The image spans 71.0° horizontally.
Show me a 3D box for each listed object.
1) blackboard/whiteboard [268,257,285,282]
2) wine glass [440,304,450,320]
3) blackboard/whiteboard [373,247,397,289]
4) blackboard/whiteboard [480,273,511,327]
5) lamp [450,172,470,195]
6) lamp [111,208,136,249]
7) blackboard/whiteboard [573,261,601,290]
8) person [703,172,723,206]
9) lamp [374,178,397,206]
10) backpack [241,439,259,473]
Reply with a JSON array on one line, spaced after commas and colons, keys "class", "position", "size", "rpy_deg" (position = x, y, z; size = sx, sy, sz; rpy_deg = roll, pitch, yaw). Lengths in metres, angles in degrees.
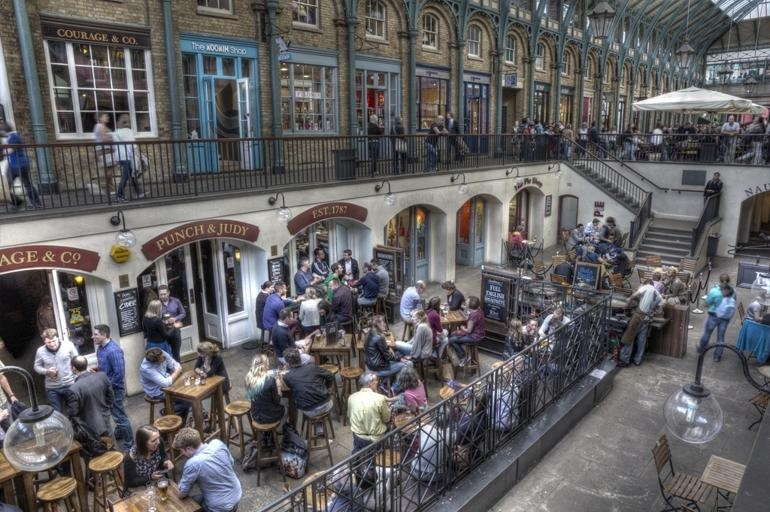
[{"class": "blackboard/whiteboard", "position": [-3.293, 0.395, 16.248], "size": [0.399, 0.843, 0.581], "rpy_deg": [2, 10, 31]}, {"class": "wine glass", "position": [1.677, 1.574, 15.087], "size": [0.228, 0.290, 0.306], "rpy_deg": [-4, 0, -16]}, {"class": "blackboard/whiteboard", "position": [-0.048, 0.445, 17.544], "size": [1.021, 1.489, 0.454], "rpy_deg": [9, -22, -21]}, {"class": "blackboard/whiteboard", "position": [3.265, 1.293, 15.746], "size": [1.299, 1.946, 0.140], "rpy_deg": [7, 11, 44]}, {"class": "lamp", "position": [3.042, -2.838, 21.236], "size": [0.459, 0.875, 1.125], "rpy_deg": [9, 17, 36]}, {"class": "lamp", "position": [-6.411, -0.683, 13.134], "size": [0.401, 0.906, 0.888], "rpy_deg": [-10, 20, -39]}, {"class": "blackboard/whiteboard", "position": [6.663, 0.657, 17.847], "size": [0.839, 0.891, 0.488], "rpy_deg": [3, 6, 41]}, {"class": "person", "position": [15.004, -3.191, 24.653], "size": [0.668, 1.204, 1.888], "rpy_deg": [9, 16, 34]}, {"class": "lamp", "position": [0.105, -2.084, 18.298], "size": [0.704, 0.878, 1.012], "rpy_deg": [-6, 14, -20]}, {"class": "backpack", "position": [-2.915, 4.321, 11.687], "size": [0.226, 0.624, 0.441], "rpy_deg": [12, -8, -42]}]
